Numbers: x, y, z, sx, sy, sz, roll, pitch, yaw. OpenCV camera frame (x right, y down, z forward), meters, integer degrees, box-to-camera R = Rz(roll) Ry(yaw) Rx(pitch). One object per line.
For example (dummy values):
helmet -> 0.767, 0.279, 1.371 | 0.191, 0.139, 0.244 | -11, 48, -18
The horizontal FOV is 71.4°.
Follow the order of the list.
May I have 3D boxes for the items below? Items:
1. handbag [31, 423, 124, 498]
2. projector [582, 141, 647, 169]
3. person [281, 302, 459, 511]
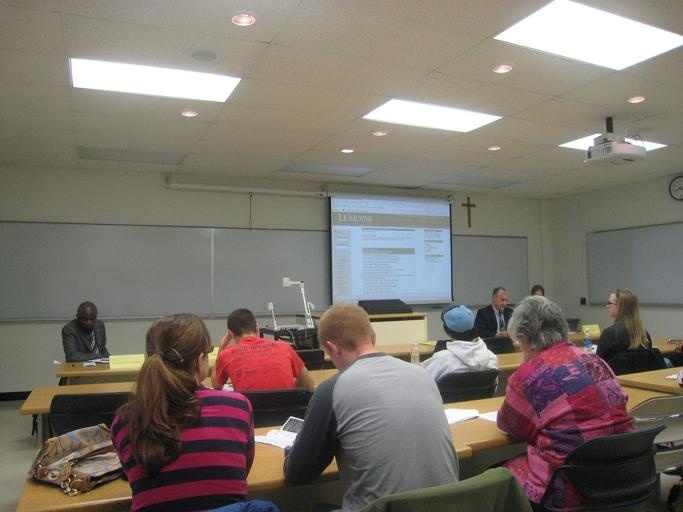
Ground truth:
handbag -> -1.114, 0.862, 2.003 | 0.283, 0.121, 0.292 | 13, 17, 34
projector -> 2.858, -1.055, 4.908 | 0.312, 0.133, 0.328 | 0, 0, 8
person -> 0.093, 0.693, 1.888 | 0.691, 0.594, 0.255 | -2, -3, 14
